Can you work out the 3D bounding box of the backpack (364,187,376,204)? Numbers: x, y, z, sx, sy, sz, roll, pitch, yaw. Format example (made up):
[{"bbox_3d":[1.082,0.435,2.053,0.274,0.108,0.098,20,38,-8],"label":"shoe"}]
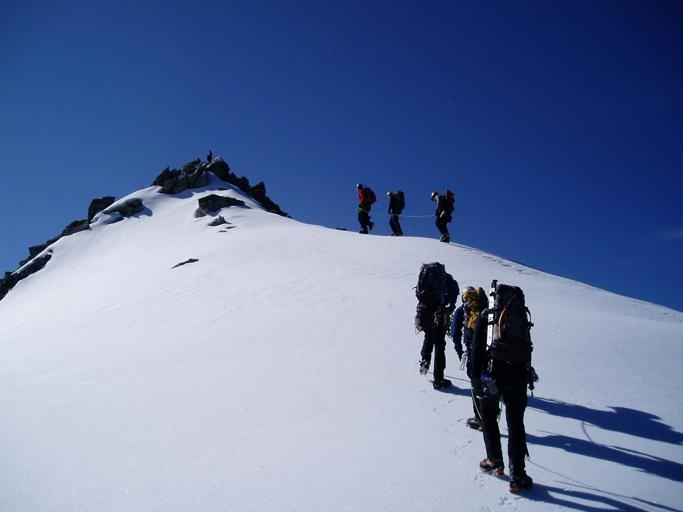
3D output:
[{"bbox_3d":[1.142,-2.289,24.792,0.353,0.784,0.572,-4,-76,0],"label":"backpack"}]

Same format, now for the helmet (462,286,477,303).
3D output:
[{"bbox_3d":[2.425,0.725,11.998,0.242,0.308,0.304,19,-20,-1],"label":"helmet"}]

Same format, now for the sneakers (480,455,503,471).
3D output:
[{"bbox_3d":[2.558,3.565,10.803,0.368,0.183,0.172,7,4,20],"label":"sneakers"}]
